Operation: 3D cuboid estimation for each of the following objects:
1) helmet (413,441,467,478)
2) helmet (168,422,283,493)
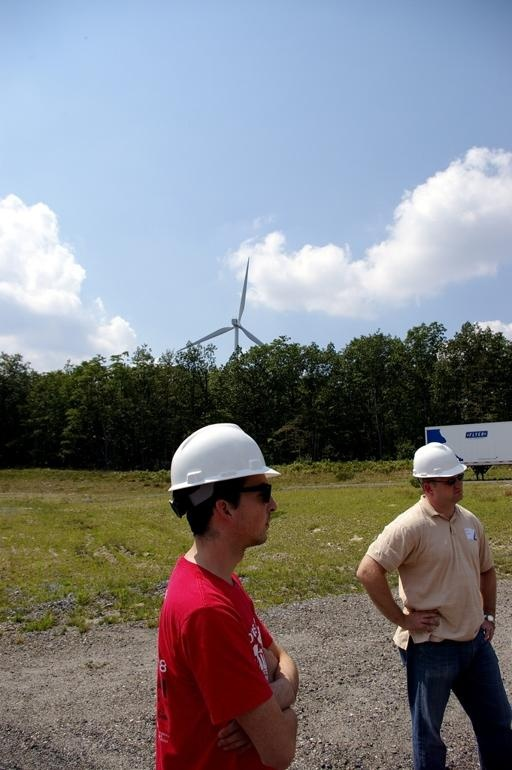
[{"bbox_3d":[1.143,0.500,3.912,0.251,0.159,0.284,-10,-7,-43],"label":"helmet"},{"bbox_3d":[-0.150,0.285,2.513,0.458,0.244,0.357,-8,-7,-15],"label":"helmet"}]
